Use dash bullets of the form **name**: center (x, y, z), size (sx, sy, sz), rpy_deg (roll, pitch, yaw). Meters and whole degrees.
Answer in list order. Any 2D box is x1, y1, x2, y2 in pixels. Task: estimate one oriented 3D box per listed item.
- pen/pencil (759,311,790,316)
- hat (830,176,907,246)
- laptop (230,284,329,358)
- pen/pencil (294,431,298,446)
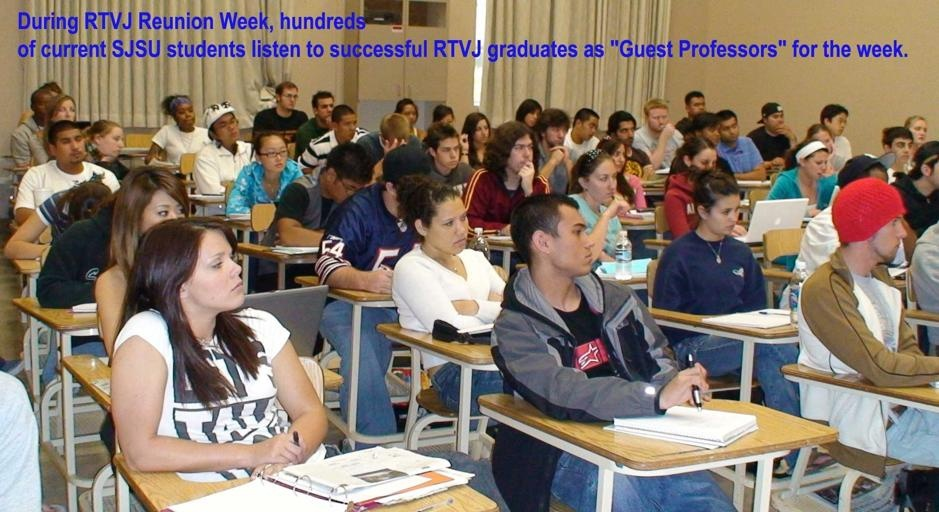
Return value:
- **pen/pencil**: center (1.813, 0.349, 4.190), size (0.182, 0.027, 0.025), rpy_deg (0, 0, -30)
- **hat**: center (2.088, -0.226, 3.690), size (0.328, 0.345, 0.171), rpy_deg (3, 9, 19)
- **laptop**: center (-1.052, 0.299, 3.878), size (0.508, 0.325, 0.385), rpy_deg (-1, 28, -36)
- **pen/pencil**: center (-0.703, 0.745, 2.855), size (0.015, 0.058, 0.015), rpy_deg (-20, 18, -28)
